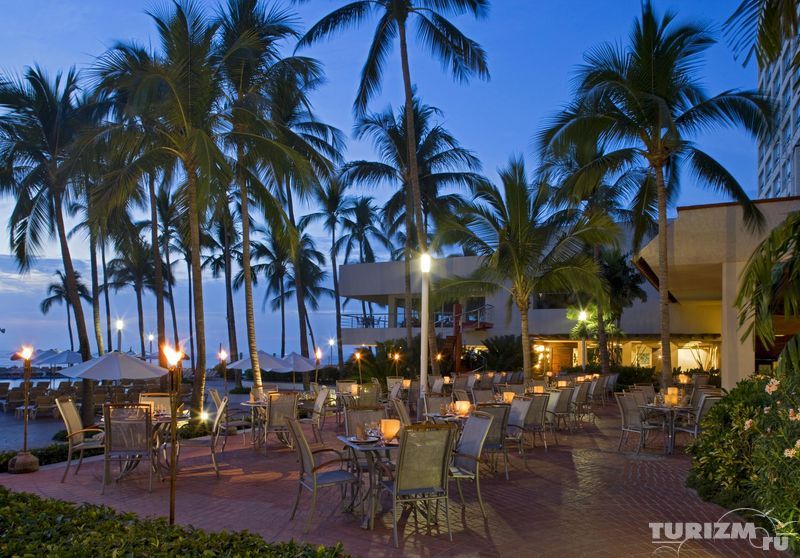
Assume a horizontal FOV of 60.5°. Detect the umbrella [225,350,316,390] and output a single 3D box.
[{"bbox_3d":[-5.585,4.025,29.653,2.114,1.056,2.327,5,-12,-28],"label":"umbrella"}]
